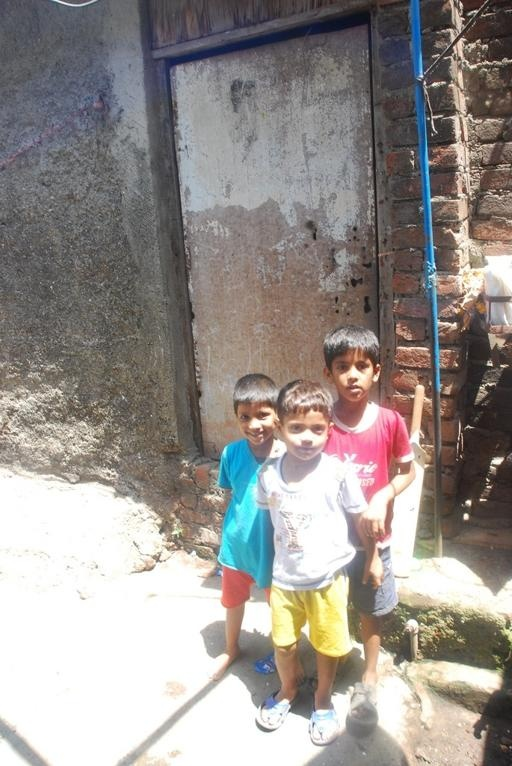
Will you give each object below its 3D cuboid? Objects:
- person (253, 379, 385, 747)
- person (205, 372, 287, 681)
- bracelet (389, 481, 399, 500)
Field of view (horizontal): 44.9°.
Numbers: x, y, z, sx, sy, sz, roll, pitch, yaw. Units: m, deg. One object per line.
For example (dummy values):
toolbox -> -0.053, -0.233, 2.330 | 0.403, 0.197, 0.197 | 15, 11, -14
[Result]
person -> 0.186, 0.548, 1.933 | 0.404, 1.099, 0.293 | 0, 13, 13
person -> -0.002, 0.533, 2.195 | 0.320, 1.171, 0.288 | -4, 21, -6
bracelet -> 0.429, 0.333, 1.935 | 0.015, 0.042, 0.030 | -10, 6, -10
